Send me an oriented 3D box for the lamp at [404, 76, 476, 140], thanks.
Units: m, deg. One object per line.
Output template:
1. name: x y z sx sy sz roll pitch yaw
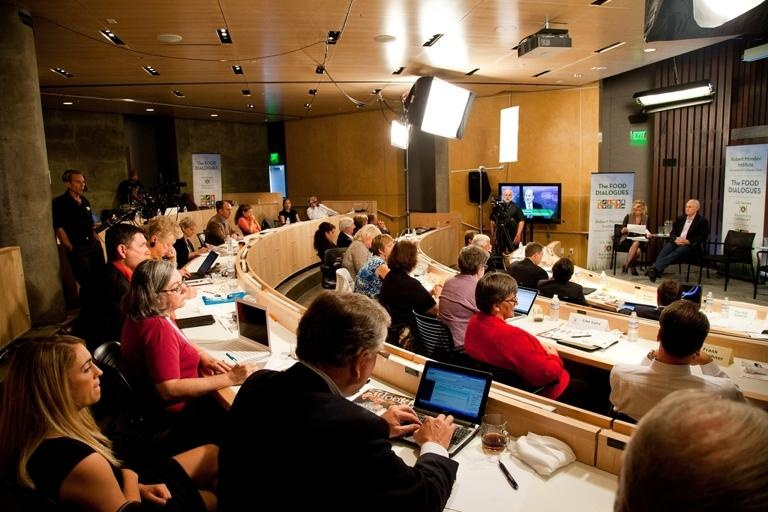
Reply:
1. lamp: 0.849 -2.528 8.282 1.257 0.868 0.638 -9 35 -43

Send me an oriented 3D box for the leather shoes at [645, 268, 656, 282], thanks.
1. leather shoes: 4.734 0.317 8.627 0.123 0.154 0.362 1 16 -4

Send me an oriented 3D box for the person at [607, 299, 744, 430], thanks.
1. person: 1.646 0.605 2.802 0.577 0.966 0.565 20 62 29

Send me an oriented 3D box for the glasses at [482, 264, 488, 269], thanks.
1. glasses: 1.036 0.098 5.028 0.077 0.035 0.106 -2 0 16

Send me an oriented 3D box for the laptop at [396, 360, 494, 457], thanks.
1. laptop: 0.341 0.756 2.623 0.439 0.293 0.437 12 27 39

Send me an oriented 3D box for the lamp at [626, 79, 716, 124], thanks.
1. lamp: 5.457 -2.904 9.185 1.013 0.360 0.739 2 13 42

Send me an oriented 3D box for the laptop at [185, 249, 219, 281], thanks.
1. laptop: -2.210 0.120 5.984 0.241 0.348 0.388 10 2 -35

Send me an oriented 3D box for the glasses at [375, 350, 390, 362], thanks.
1. glasses: -0.003 0.614 3.045 0.111 0.040 0.111 6 7 33

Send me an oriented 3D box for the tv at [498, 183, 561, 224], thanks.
1. tv: 3.112 -1.144 10.488 1.306 0.904 0.103 2 15 27

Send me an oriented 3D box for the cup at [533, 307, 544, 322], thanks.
1. cup: 1.479 0.556 4.694 0.126 0.132 0.125 -2 -1 0

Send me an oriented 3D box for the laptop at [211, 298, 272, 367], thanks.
1. laptop: -1.098 0.538 3.530 0.394 0.342 0.510 -12 12 -35

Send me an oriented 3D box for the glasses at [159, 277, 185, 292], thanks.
1. glasses: -1.376 0.180 3.155 0.112 0.033 0.108 -3 6 6

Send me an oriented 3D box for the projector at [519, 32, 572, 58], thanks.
1. projector: 2.085 -2.705 6.193 0.392 0.170 0.597 -2 8 -8

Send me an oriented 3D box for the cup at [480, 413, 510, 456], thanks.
1. cup: 0.568 0.897 2.498 0.135 0.167 0.153 2 10 11
